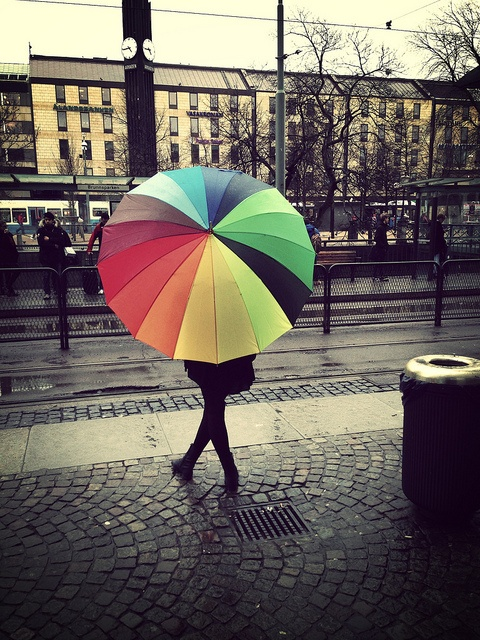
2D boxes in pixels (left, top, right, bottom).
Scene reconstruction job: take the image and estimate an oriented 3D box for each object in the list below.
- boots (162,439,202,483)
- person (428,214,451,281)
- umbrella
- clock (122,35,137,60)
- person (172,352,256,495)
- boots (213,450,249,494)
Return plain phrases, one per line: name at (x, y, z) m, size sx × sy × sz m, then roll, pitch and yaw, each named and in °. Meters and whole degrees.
boots at (-0.448, 1.073, 5.164) m, size 0.158 × 0.324 × 0.325 m, roll 7°, pitch 19°, yaw -38°
person at (5.966, -2.401, 20.154) m, size 0.485 × 1.402 × 2.571 m, roll 3°, pitch 11°, yaw 17°
umbrella at (-0.270, -0.268, 4.433) m, size 1.205 × 1.236 × 0.477 m, roll -6°, pitch -12°, yaw -5°
clock at (-4.710, -11.520, 28.683) m, size 0.665 × 0.826 × 0.383 m, roll 1°, pitch 10°, yaw 4°
person at (-0.186, 0.728, 4.802) m, size 0.503 × 1.062 × 0.770 m, roll -2°, pitch 11°, yaw -15°
boots at (-0.069, 1.119, 4.941) m, size 0.213 × 0.325 × 0.113 m, roll 24°, pitch -25°, yaw -39°
